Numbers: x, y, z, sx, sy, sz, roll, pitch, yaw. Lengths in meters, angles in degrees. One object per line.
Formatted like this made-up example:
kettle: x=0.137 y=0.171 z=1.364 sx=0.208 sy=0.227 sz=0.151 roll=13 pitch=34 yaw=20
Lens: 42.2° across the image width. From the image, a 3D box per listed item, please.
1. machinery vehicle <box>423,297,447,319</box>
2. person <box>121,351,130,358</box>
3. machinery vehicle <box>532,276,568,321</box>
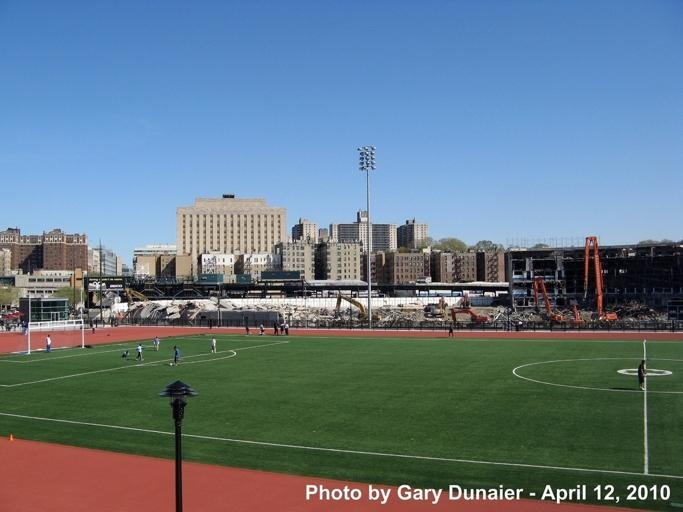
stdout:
machinery vehicle: x=16.789 y=10.183 z=162.721 sx=3.472 sy=4.049 sz=5.794 roll=-2 pitch=-11 yaw=11
person: x=-19.120 y=8.853 z=78.360 sx=0.695 sy=0.735 sz=1.421 roll=1 pitch=-10 yaw=-16
machinery vehicle: x=37.119 y=8.598 z=162.514 sx=4.109 sy=7.415 sz=14.601 roll=-6 pitch=-15 yaw=25
